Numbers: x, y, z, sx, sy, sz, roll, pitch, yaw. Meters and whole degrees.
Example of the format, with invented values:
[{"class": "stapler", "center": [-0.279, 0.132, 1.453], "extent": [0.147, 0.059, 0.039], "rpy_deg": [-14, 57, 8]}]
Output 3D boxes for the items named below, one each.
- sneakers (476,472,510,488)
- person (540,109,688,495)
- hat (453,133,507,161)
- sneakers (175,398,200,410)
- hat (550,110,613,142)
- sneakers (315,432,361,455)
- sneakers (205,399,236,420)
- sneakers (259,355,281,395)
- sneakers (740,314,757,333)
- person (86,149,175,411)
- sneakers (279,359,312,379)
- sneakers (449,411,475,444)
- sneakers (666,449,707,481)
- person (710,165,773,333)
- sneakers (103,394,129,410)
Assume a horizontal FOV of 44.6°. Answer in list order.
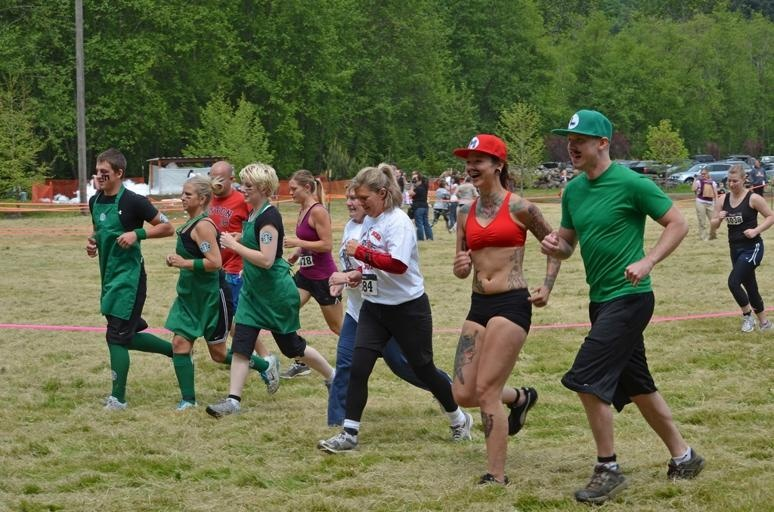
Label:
[{"class": "sneakers", "center": [1.096, 2.307, 9.723], "extent": [0.347, 0.125, 0.120], "rpy_deg": [1, -4, -5]}, {"class": "person", "center": [2.362, 0.463, 9.722], "extent": [1.246, 3.805, 1.489], "rpy_deg": [-12, 18, -38]}, {"class": "hat", "center": [1.013, -1.123, 10.016], "extent": [0.478, 0.162, 0.309], "rpy_deg": [12, 0, -13]}, {"class": "sneakers", "center": [-2.461, 1.828, 11.628], "extent": [0.253, 0.097, 0.281], "rpy_deg": [-2, 13, -9]}, {"class": "hat", "center": [2.078, -1.393, 9.988], "extent": [0.558, 0.298, 0.680], "rpy_deg": [2, 13, 9]}, {"class": "sneakers", "center": [-0.516, 2.084, 10.564], "extent": [0.534, 0.206, 0.177], "rpy_deg": [2, -2, -14]}, {"class": "sneakers", "center": [-1.960, 1.826, 11.404], "extent": [0.401, 0.176, 0.179], "rpy_deg": [-10, 16, -35]}, {"class": "sneakers", "center": [-1.499, 1.520, 12.292], "extent": [0.287, 0.499, 0.182], "rpy_deg": [-11, 12, -10]}, {"class": "sneakers", "center": [5.455, 0.986, 14.192], "extent": [0.202, 0.240, 0.510], "rpy_deg": [4, 14, 20]}, {"class": "person", "center": [-3.219, 0.255, 11.839], "extent": [0.962, 3.072, 1.062], "rpy_deg": [-4, 14, -14]}, {"class": "sneakers", "center": [-1.223, 1.578, 13.134], "extent": [0.583, 0.244, 0.186], "rpy_deg": [0, 1, -21]}, {"class": "sneakers", "center": [0.872, 1.949, 10.958], "extent": [0.152, 0.421, 0.201], "rpy_deg": [-20, -46, 42]}, {"class": "sneakers", "center": [3.164, 2.161, 9.926], "extent": [0.518, 0.205, 0.181], "rpy_deg": [-30, 7, -21]}, {"class": "person", "center": [5.480, -0.152, 14.479], "extent": [0.946, 2.371, 1.492], "rpy_deg": [4, 14, 18]}, {"class": "sneakers", "center": [-3.340, 1.800, 11.648], "extent": [0.275, 0.115, 0.134], "rpy_deg": [18, -4, -22]}]
